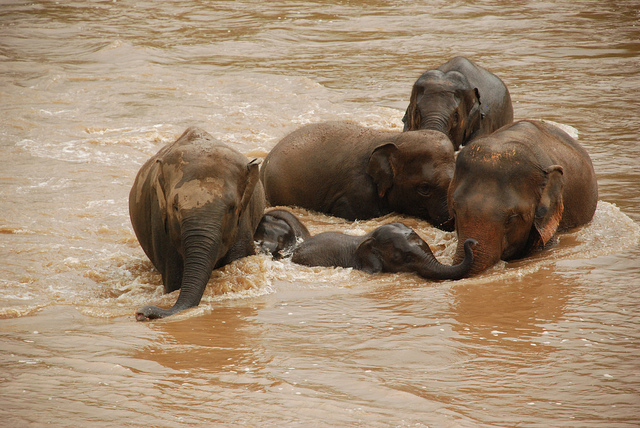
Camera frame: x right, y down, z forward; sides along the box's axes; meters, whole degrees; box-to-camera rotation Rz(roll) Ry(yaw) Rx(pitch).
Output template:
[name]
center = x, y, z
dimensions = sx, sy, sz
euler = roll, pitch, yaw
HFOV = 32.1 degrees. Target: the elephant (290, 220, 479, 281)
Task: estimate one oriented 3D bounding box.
[elephant]
center = 0.871, 0.663, 15.278
dimensions = 2.927, 0.815, 0.847
euler = 1, 13, 38
